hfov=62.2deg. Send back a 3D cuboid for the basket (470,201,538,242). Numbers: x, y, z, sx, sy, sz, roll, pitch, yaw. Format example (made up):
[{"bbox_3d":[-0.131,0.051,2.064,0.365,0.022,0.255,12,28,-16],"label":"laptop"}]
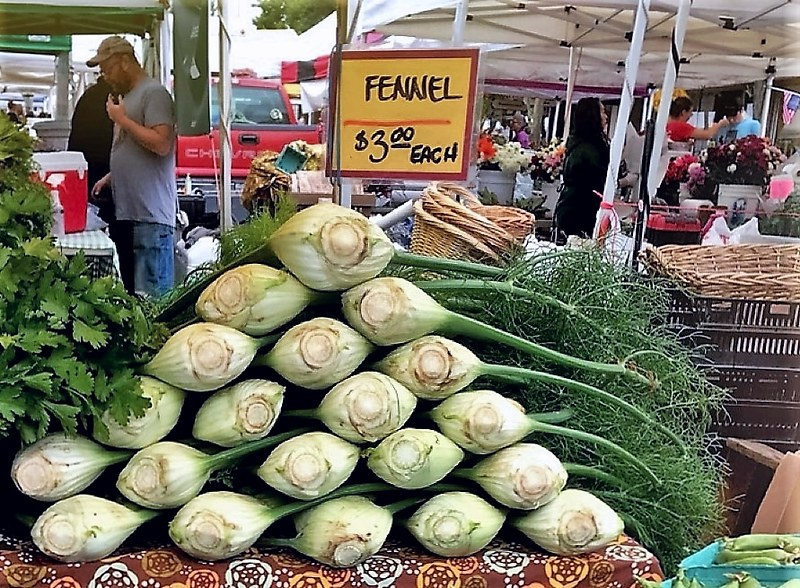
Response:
[{"bbox_3d":[0.439,-0.307,2.725,0.234,0.100,0.248,8,7,-17],"label":"basket"}]

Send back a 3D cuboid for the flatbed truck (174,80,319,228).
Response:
[{"bbox_3d":[-2.292,-2.315,9.640,1.802,1.571,3.214,-2,7,-16],"label":"flatbed truck"}]

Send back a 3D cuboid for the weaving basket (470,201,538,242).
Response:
[{"bbox_3d":[0.440,-0.284,2.732,0.234,0.100,0.248,8,7,-17],"label":"weaving basket"}]

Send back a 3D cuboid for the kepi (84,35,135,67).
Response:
[{"bbox_3d":[-1.985,-1.679,4.578,0.304,0.147,0.189,-11,19,-22],"label":"kepi"}]

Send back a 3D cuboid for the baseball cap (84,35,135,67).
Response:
[{"bbox_3d":[-1.981,-1.678,4.579,0.304,0.147,0.189,-11,19,-22],"label":"baseball cap"}]

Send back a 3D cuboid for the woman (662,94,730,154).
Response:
[{"bbox_3d":[3.310,-1.875,7.435,0.655,0.637,0.522,-7,19,-13],"label":"woman"}]

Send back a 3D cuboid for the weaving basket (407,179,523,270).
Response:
[{"bbox_3d":[0.288,-0.208,2.539,0.361,0.208,0.414,22,8,27],"label":"weaving basket"}]

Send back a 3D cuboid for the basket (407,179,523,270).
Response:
[{"bbox_3d":[0.283,-0.208,2.539,0.361,0.208,0.414,22,8,27],"label":"basket"}]

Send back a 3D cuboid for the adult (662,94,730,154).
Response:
[{"bbox_3d":[3.308,-1.936,7.434,0.604,0.509,1.121,12,18,25],"label":"adult"}]

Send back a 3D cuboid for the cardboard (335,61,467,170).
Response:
[{"bbox_3d":[0.030,-0.748,2.728,0.484,0.399,0.067,2,9,7],"label":"cardboard"}]
